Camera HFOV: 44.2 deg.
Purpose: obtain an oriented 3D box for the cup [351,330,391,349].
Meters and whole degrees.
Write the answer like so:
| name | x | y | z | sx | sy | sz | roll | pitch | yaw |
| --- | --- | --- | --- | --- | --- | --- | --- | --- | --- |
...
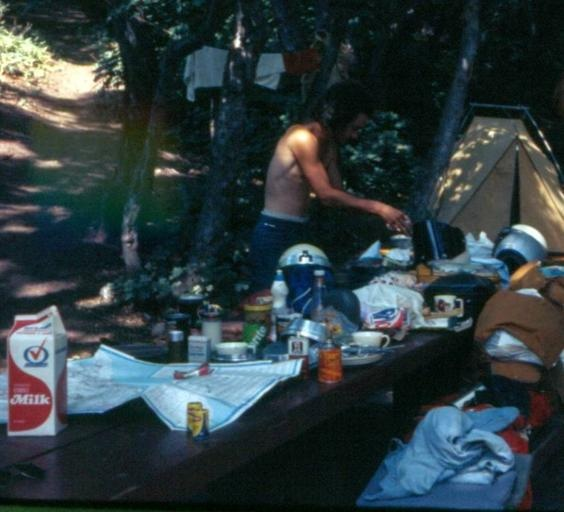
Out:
| name | x | y | z | sx | sy | sz | roll | pitch | yaw |
| --- | --- | --- | --- | --- | --- | --- | --- | --- | --- |
| cup | 0.307 | 0.279 | 2.318 | 0.116 | 0.032 | 0.073 | 1 | -2 | -7 |

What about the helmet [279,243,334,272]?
| name | x | y | z | sx | sy | sz | roll | pitch | yaw |
| --- | --- | --- | --- | --- | --- | --- | --- | --- | --- |
| helmet | 0.099 | 0.006 | 2.599 | 0.133 | 0.079 | 0.150 | 1 | 6 | 40 |

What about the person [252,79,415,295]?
| name | x | y | z | sx | sy | sz | roll | pitch | yaw |
| --- | --- | --- | --- | --- | --- | --- | --- | --- | --- |
| person | 0.170 | -0.256 | 3.442 | 0.522 | 1.215 | 0.582 | 11 | 24 | -5 |

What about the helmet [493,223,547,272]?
| name | x | y | z | sx | sy | sz | roll | pitch | yaw |
| --- | --- | --- | --- | --- | --- | --- | --- | --- | --- |
| helmet | 1.294 | -0.066 | 3.729 | 0.249 | 0.160 | 0.199 | 19 | -4 | 37 |

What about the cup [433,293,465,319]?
| name | x | y | z | sx | sy | sz | roll | pitch | yaw |
| --- | --- | --- | --- | --- | --- | --- | --- | --- | --- |
| cup | 0.693 | 0.202 | 2.856 | 0.160 | 0.070 | 0.085 | 1 | 1 | 16 |
